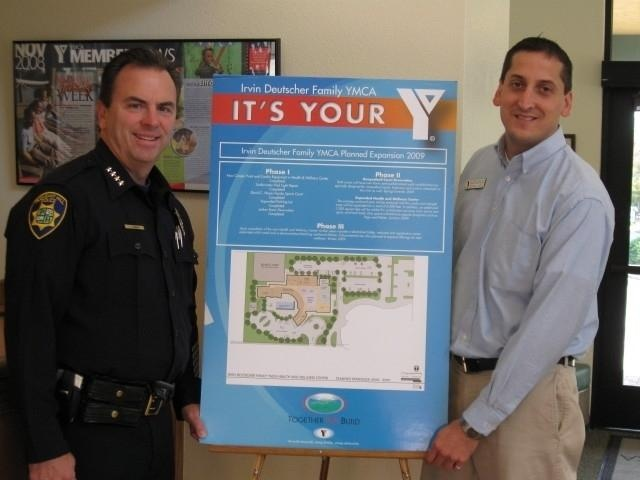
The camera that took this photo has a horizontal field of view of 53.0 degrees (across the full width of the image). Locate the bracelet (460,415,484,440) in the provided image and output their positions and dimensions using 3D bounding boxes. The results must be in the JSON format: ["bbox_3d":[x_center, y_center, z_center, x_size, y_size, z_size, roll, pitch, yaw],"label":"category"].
[{"bbox_3d":[0.589,0.736,2.529,0.089,0.049,0.069,26,2,20],"label":"bracelet"}]

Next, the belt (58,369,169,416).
[{"bbox_3d":[-0.775,0.590,2.413,0.270,0.206,0.115,2,20,-12],"label":"belt"}]
